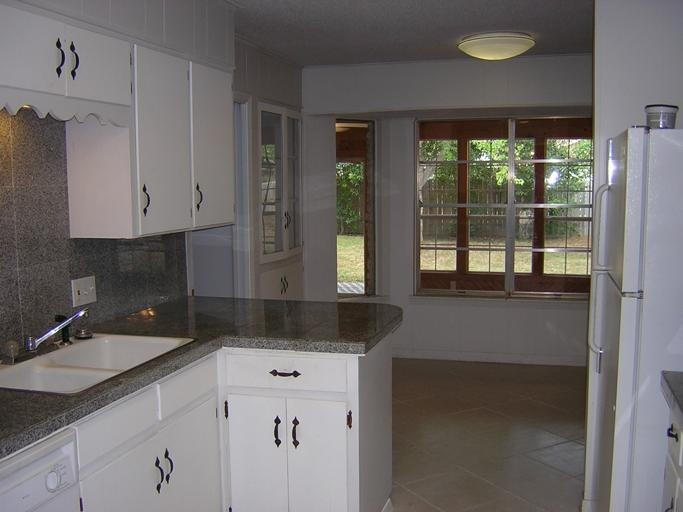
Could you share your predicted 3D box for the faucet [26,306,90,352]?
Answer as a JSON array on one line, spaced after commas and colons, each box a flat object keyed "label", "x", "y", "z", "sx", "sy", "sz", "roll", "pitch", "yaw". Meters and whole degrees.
[{"label": "faucet", "x": -1.371, "y": 0.338, "z": 2.706, "sx": 0.269, "sy": 0.170, "sz": 0.337, "roll": -6, "pitch": 10, "yaw": -28}]

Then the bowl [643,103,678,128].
[{"label": "bowl", "x": 1.496, "y": -0.644, "z": 2.676, "sx": 0.159, "sy": 0.122, "sz": 0.162, "roll": 0, "pitch": 2, "yaw": 0}]

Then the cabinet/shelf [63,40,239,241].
[{"label": "cabinet/shelf", "x": -1.016, "y": -0.614, "z": 2.935, "sx": 0.450, "sy": 1.041, "sz": 1.174, "roll": 1, "pitch": 5, "yaw": 16}]
